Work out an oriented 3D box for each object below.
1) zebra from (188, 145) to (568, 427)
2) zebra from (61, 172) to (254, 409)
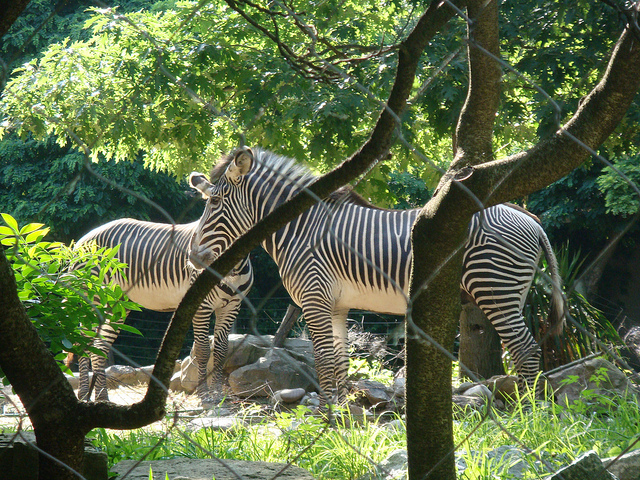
[{"bbox_3d":[0.304,0.278,7.890,2.912,2.632,0.855,-4,-15,7],"label":"zebra"},{"bbox_3d":[-1.567,0.546,9.568,2.625,2.324,0.748,-1,4,24],"label":"zebra"}]
